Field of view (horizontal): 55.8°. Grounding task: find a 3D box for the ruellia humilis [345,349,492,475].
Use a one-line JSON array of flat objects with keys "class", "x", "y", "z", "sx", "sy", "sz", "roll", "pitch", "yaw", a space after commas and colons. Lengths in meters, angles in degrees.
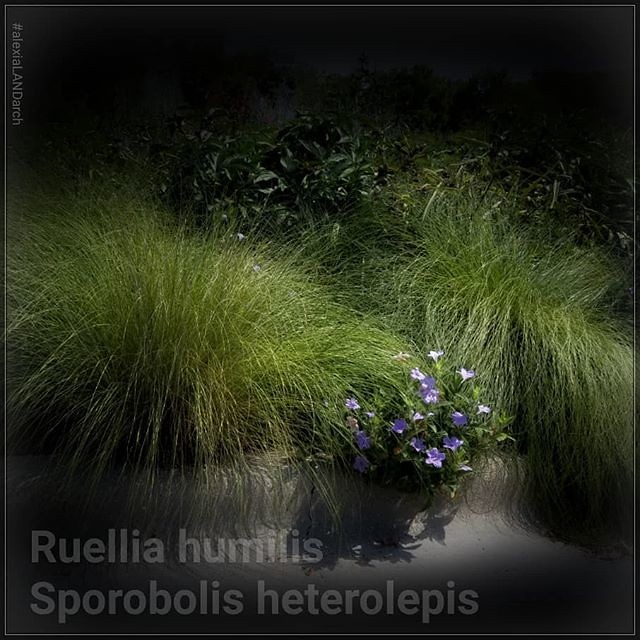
[{"class": "ruellia humilis", "x": 0.489, "y": 0.499, "z": 2.822, "sx": 0.599, "sy": 0.624, "sz": 0.447, "roll": 9, "pitch": 102, "yaw": 21}]
